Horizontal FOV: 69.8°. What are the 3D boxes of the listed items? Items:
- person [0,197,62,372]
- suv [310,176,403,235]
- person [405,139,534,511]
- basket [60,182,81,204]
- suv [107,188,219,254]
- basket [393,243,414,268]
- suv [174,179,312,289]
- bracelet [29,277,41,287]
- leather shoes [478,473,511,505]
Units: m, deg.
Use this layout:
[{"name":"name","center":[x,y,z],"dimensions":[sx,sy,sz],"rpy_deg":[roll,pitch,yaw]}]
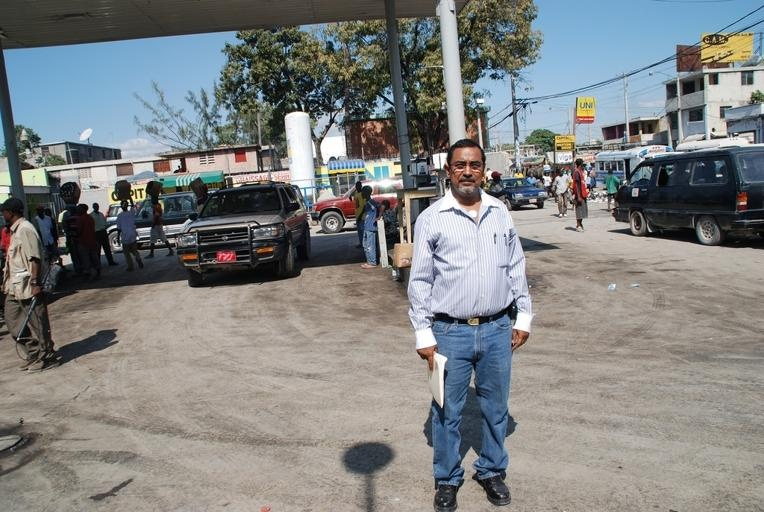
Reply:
[{"name":"person","center":[-5.405,0.407,8.250],"dimensions":[0.650,2.512,1.005],"rpy_deg":[-12,14,-36]},{"name":"suv","center":[-1.144,-2.197,24.026],"dimensions":[3.769,1.841,2.113],"rpy_deg":[-4,7,1]},{"name":"person","center":[0.744,0.576,4.541],"dimensions":[1.007,3.002,0.625],"rpy_deg":[-3,11,2]},{"name":"basket","center":[-8.746,-1.755,15.327],"dimensions":[0.412,0.627,1.843],"rpy_deg":[-10,13,-28]},{"name":"suv","center":[-9.104,-1.475,20.268],"dimensions":[4.269,2.395,2.763],"rpy_deg":[-2,6,0]},{"name":"basket","center":[0.405,0.006,11.204],"dimensions":[0.425,0.501,0.522],"rpy_deg":[1,-2,-10]},{"name":"suv","center":[-3.415,-0.569,13.774],"dimensions":[2.444,2.358,3.093],"rpy_deg":[-3,12,4]},{"name":"bracelet","center":[-5.187,0.400,8.195],"dimensions":[0.149,0.157,0.143],"rpy_deg":[9,1,-22]},{"name":"leather shoes","center":[0.966,1.979,4.683],"dimensions":[0.119,0.133,0.325],"rpy_deg":[-2,1,-14]}]
